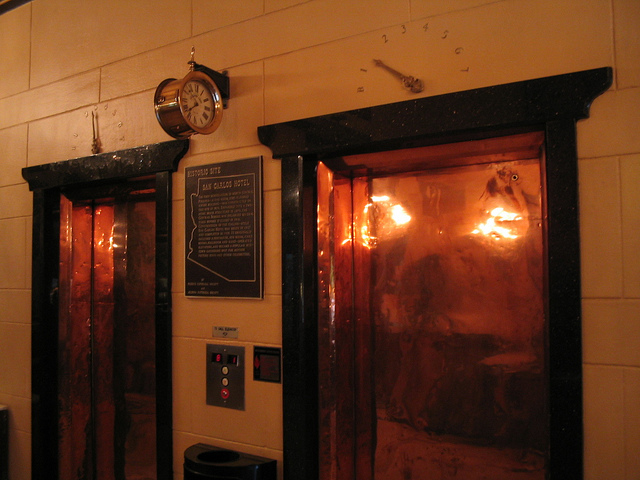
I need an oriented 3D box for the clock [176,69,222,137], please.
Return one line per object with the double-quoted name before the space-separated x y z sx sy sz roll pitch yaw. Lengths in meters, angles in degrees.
"clock" -0.669 -0.750 3.517 0.230 0.339 0.102 -2 -5 -14
